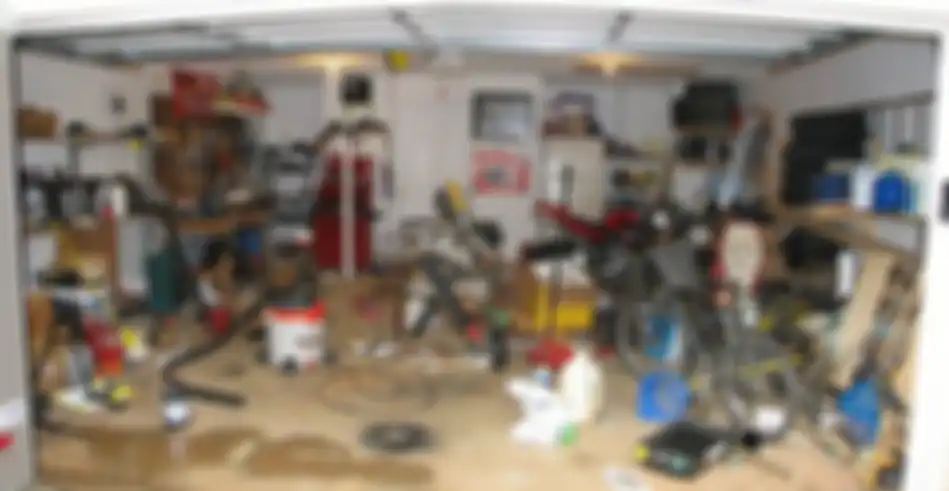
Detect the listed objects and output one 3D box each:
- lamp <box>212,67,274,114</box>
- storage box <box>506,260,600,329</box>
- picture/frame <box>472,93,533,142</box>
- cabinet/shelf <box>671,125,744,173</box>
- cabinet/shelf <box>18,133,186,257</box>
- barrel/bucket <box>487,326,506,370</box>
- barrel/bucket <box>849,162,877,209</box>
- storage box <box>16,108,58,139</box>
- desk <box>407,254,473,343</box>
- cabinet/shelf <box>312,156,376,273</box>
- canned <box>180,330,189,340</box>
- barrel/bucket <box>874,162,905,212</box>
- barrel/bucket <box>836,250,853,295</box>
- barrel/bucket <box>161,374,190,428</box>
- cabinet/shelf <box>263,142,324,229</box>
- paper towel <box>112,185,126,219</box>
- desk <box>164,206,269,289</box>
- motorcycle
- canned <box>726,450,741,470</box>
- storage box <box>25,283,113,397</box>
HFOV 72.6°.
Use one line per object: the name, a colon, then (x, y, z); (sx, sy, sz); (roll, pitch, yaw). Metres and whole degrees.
lamp: (-3.448, -2.264, 9.491); (0.987, 0.465, 0.894); (11, 22, 6)
storage box: (1.099, 0.716, 8.554); (1.117, 0.403, 1.288); (6, 5, -17)
picture/frame: (0.492, -2.263, 11.519); (1.276, 0.803, 0.106); (10, 17, 35)
cabinet/shelf: (4.224, -1.685, 11.366); (1.256, 0.697, 0.690); (12, 24, 42)
cabinet/shelf: (-4.925, -0.636, 8.434); (2.232, 1.584, 0.616); (-1, 0, -13)
barrel/bucket: (0.254, 1.229, 7.603); (0.195, 0.350, 0.449); (-3, 16, -6)
barrel/bucket: (4.290, -0.639, 7.080); (0.282, 0.441, 0.274); (-3, 10, 1)
storage box: (-5.128, -1.426, 7.704); (0.530, 0.288, 0.254); (5, 4, 3)
desk: (-0.379, 0.577, 8.542); (0.920, 0.960, 0.873); (-3, 5, -1)
cabinet/shelf: (-2.228, -0.543, 11.209); (1.100, 1.931, 0.817); (-2, 12, -8)
canned: (-3.658, 1.132, 8.133); (0.108, 0.113, 0.065); (1, -18, 0)
barrel/bucket: (4.481, -0.610, 6.831); (0.323, 0.444, 0.306); (3, 7, 0)
barrel/bucket: (4.114, 0.322, 7.168); (0.170, 0.498, 0.324); (6, 13, 28)
barrel/bucket: (-3.073, 1.604, 6.624); (0.278, 0.512, 0.238); (-5, 13, -23)
cabinet/shelf: (-3.443, -1.014, 12.098); (1.031, 1.543, 0.492); (-1, 0, 0)
paper towel: (-4.580, -0.571, 8.371); (0.190, 0.395, 0.190); (-3, 4, -24)
desk: (-4.137, 0.127, 9.865); (1.056, 1.090, 1.753); (-2, -3, -25)
motorcycle: (1.960, -0.022, 9.594); (2.602, 1.219, 0.909); (0, 6, -20)
canned: (2.506, 2.088, 6.263); (0.168, 0.133, 0.231); (7, -3, 9)
storage box: (-4.608, 1.012, 7.185); (1.127, 1.220, 1.060); (3, -6, -26)
